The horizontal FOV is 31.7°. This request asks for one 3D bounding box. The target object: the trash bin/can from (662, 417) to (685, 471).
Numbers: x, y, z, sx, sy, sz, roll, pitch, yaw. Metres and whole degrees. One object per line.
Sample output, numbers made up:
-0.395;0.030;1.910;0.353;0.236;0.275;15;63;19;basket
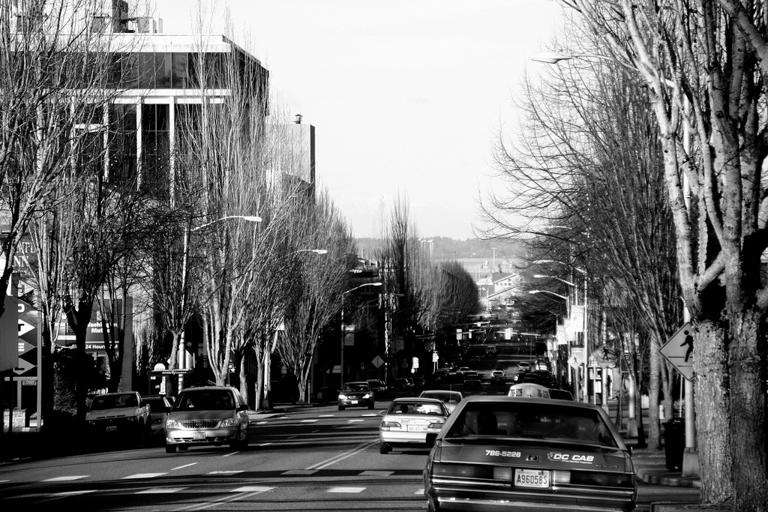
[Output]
8.436;5.538;39.635;0.616;1.156;0.530;2;-1;28;trash bin/can
